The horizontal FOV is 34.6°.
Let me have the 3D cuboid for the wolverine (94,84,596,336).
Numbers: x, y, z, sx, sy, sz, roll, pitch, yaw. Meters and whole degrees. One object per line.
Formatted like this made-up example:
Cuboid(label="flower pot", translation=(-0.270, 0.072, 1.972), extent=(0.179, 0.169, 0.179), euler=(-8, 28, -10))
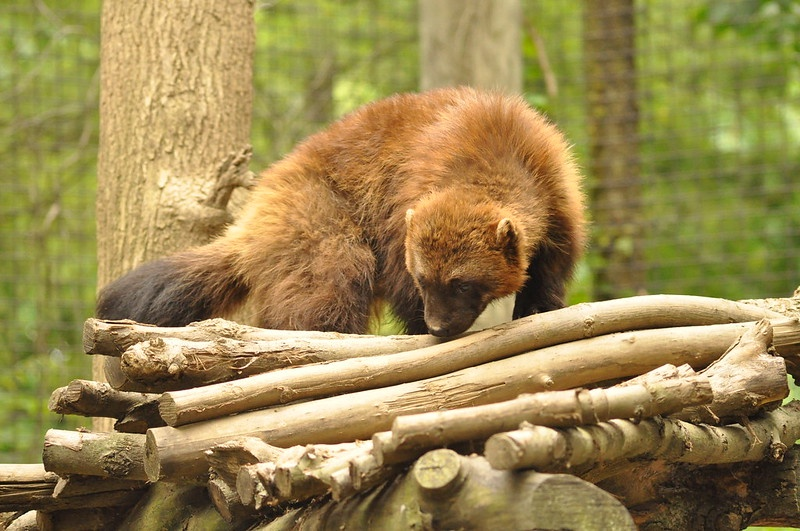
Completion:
Cuboid(label="wolverine", translation=(-0.396, -0.318, 9.151), extent=(3.070, 1.299, 1.824), euler=(-3, 7, 18))
